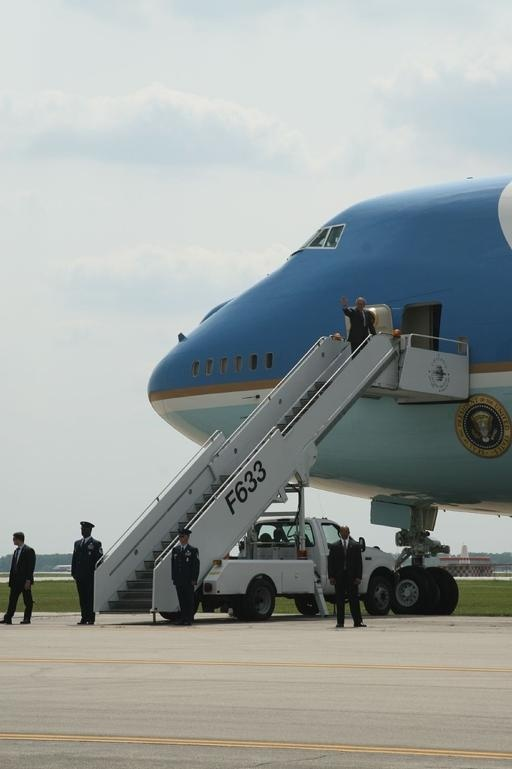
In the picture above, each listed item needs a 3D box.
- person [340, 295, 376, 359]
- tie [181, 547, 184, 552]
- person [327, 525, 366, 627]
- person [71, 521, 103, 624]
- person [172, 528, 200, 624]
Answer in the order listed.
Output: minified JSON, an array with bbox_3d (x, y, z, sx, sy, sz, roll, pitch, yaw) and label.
[{"bbox_3d":[1.726,-0.956,20.523,0.532,0.997,1.625,1,-4,5],"label":"person"},{"bbox_3d":[-1.075,2.356,17.575,0.042,0.053,0.014,0,-5,-6],"label":"tie"},{"bbox_3d":[1.279,2.707,17.277,0.523,1.351,0.956,1,-4,3],"label":"person"},{"bbox_3d":[-2.641,2.891,18.864,0.475,1.547,1.021,2,-4,-8],"label":"person"},{"bbox_3d":[-1.048,2.772,17.714,0.411,1.371,0.537,1,-4,-3],"label":"person"}]
